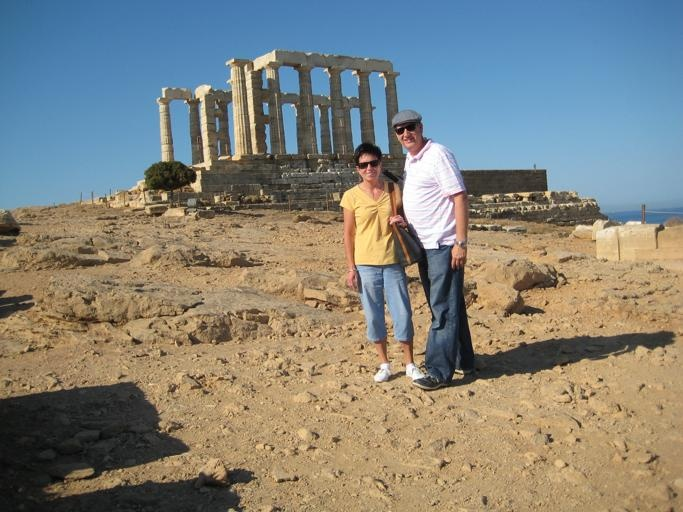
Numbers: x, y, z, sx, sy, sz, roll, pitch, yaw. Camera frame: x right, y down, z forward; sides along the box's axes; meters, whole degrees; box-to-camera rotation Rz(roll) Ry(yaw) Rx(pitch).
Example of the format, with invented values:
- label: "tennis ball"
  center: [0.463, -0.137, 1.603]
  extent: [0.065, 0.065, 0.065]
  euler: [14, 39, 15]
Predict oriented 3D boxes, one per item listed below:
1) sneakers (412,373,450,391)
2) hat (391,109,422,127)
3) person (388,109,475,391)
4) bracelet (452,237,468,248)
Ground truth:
- label: "sneakers"
  center: [0.715, 1.026, 4.435]
  extent: [0.294, 0.093, 0.107]
  euler: [5, 0, -16]
- label: "hat"
  center: [0.520, -1.114, 4.389]
  extent: [0.209, 0.118, 0.369]
  euler: [-4, 5, 4]
- label: "person"
  center: [0.763, 0.047, 4.456]
  extent: [0.555, 2.038, 0.431]
  euler: [-4, 6, 7]
- label: "bracelet"
  center: [0.942, -0.107, 4.319]
  extent: [0.102, 0.057, 0.084]
  euler: [0, -4, -16]
